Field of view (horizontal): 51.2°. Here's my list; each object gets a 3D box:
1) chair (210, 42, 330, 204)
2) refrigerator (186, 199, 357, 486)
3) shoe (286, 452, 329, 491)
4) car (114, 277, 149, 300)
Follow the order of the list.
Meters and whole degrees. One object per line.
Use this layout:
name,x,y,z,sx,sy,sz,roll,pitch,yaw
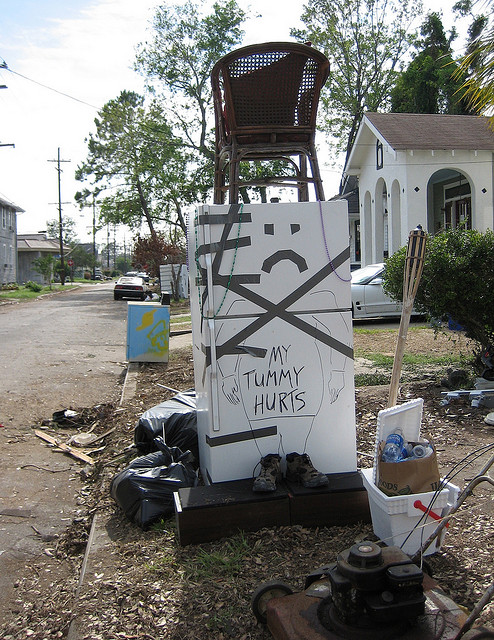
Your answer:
chair,0.196,-1.593,4.469,0.971,1.180,1.013,-1,4,-3
refrigerator,0.121,0.100,3.852,1.152,1.855,0.964,-3,8,-11
shoe,0.384,0.950,3.319,0.144,0.181,0.375,-2,-2,-31
car,-7.268,-1.974,32.511,1.892,1.182,3.794,0,8,-6
